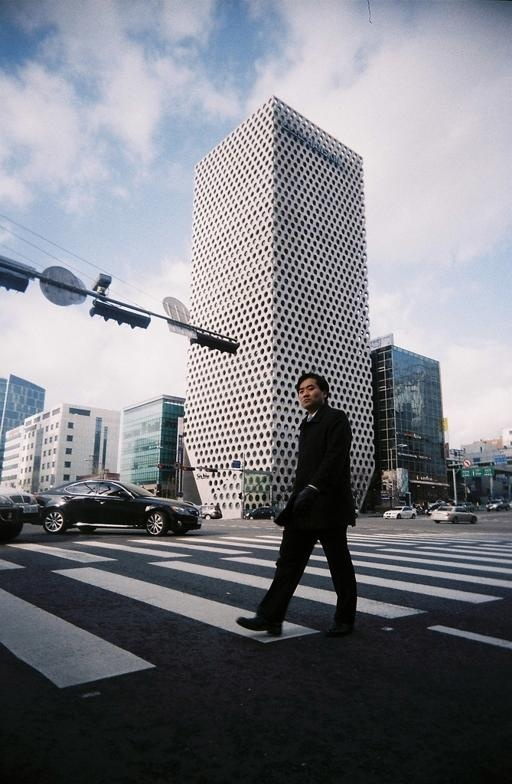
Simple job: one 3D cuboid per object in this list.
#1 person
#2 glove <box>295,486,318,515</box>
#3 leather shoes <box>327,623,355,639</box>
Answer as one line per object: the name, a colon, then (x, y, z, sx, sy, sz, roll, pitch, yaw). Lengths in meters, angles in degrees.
person: (0.325, 0.676, 3.566, 0.635, 1.715, 0.504, -1, -9, 6)
glove: (0.309, 0.670, 3.381, 0.118, 0.166, 0.055, 39, 4, -23)
leather shoes: (0.508, 1.464, 3.255, 0.170, 0.064, 0.061, 19, -31, -33)
